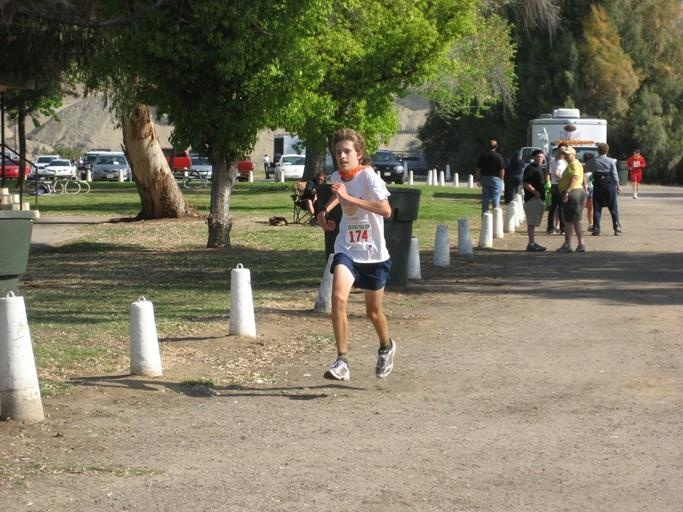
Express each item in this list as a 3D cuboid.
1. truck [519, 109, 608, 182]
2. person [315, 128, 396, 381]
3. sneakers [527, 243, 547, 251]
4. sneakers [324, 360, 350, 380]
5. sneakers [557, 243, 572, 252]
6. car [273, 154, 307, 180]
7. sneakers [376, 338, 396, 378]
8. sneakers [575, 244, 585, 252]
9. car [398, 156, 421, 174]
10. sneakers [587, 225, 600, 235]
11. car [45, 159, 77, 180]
[{"bbox_3d":[6.884,-3.333,38.621,1.911,1.812,2.895,6,7,25],"label":"truck"},{"bbox_3d":[0.171,-0.005,14.596,0.821,2.829,0.907,-1,13,0],"label":"person"},{"bbox_3d":[3.661,-0.174,24.477,0.393,0.162,0.127,6,30,5],"label":"sneakers"},{"bbox_3d":[-0.043,1.256,14.546,0.145,0.162,0.371,7,-9,20],"label":"sneakers"},{"bbox_3d":[4.052,-0.166,23.864,0.258,0.117,0.109,5,12,34],"label":"sneakers"},{"bbox_3d":[-2.361,-3.995,58.285,1.173,0.877,1.908,-2,2,-8],"label":"car"},{"bbox_3d":[0.517,1.161,14.752,0.172,0.485,0.208,8,-10,27],"label":"sneakers"},{"bbox_3d":[4.367,-0.170,23.920,0.170,0.158,0.414,2,13,10],"label":"sneakers"},{"bbox_3d":[4.150,-5.482,76.766,1.257,1.036,1.882,3,14,10],"label":"car"},{"bbox_3d":[5.259,-0.570,27.347,0.187,0.229,0.535,0,6,9],"label":"sneakers"},{"bbox_3d":[-13.122,-4.142,61.464,1.164,0.800,2.506,-1,0,-1],"label":"car"}]
